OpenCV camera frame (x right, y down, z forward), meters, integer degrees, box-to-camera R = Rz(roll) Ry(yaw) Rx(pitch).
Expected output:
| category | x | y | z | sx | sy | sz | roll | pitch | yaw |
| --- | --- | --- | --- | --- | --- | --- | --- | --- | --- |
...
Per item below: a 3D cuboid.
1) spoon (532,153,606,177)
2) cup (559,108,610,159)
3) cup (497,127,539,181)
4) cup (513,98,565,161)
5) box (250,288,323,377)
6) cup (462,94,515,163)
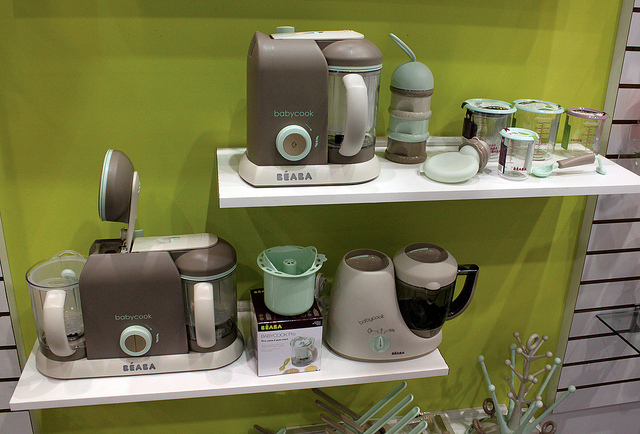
| category | x | y | z | sx | sy | sz | roll | pitch | yaw |
| --- | --- | --- | --- | --- | --- | --- | --- | --- | --- |
| spoon | 0.755 | -0.150 | 1.466 | 0.257 | 0.054 | 0.064 | -9 | 21 | -14 |
| cup | 0.846 | -0.276 | 1.588 | 0.128 | 0.139 | 0.134 | 0 | 21 | 0 |
| cup | 0.594 | -0.184 | 1.455 | 0.109 | 0.139 | 0.125 | -7 | 21 | -23 |
| cup | 0.708 | -0.275 | 1.600 | 0.142 | 0.157 | 0.153 | 4 | 6 | 0 |
| box | -0.111 | 0.328 | 1.475 | 0.196 | 0.208 | 0.178 | -3 | 39 | -10 |
| cup | 0.544 | -0.306 | 1.592 | 0.150 | 0.195 | 0.190 | -5 | 40 | 6 |
